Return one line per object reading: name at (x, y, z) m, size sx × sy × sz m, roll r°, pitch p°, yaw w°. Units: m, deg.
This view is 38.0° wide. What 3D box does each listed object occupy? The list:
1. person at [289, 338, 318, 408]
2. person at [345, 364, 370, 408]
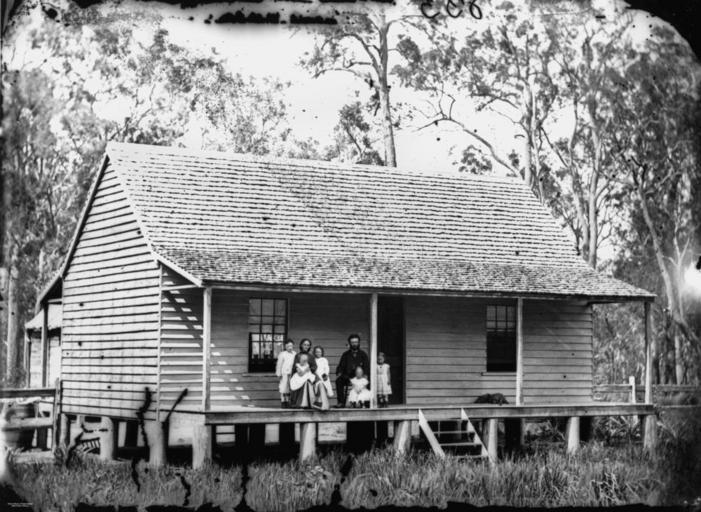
person at (-1.215, 3.105, 27.270) m, size 0.492 × 1.477 × 0.684 m, roll -1°, pitch 10°, yaw -7°
person at (0.173, 3.618, 27.819) m, size 0.631 × 1.005 × 0.628 m, roll -3°, pitch 19°, yaw -1°
